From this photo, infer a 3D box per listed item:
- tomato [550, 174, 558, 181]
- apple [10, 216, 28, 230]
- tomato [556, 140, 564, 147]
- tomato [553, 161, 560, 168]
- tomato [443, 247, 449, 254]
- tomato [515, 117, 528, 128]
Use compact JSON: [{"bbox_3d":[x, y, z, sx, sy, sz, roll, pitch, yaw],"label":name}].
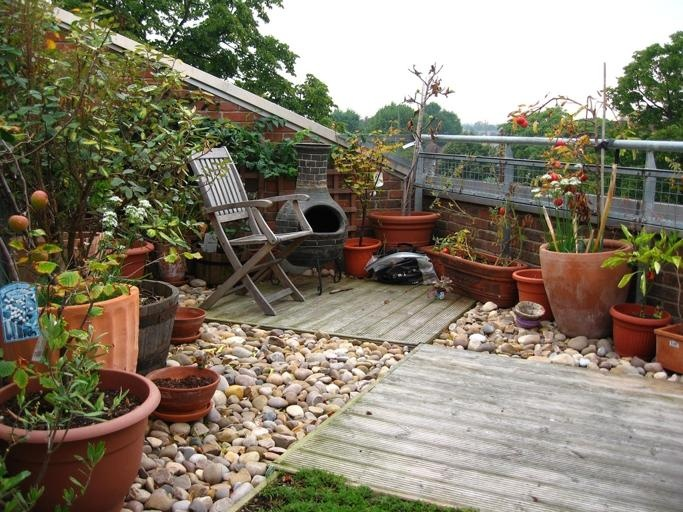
[{"bbox_3d":[1.664,-0.620,3.629,0.049,0.055,0.045,-16,13,-27],"label":"tomato"},{"bbox_3d":[-0.966,-0.099,1.379,0.041,0.039,0.040,-35,-28,5],"label":"apple"},{"bbox_3d":[1.713,-0.896,3.649,0.062,0.053,0.045,0,17,5],"label":"tomato"},{"bbox_3d":[1.750,-0.750,3.772,0.049,0.049,0.041,26,-31,-25],"label":"tomato"},{"bbox_3d":[1.072,-0.056,4.751,0.054,0.059,0.055,-14,18,-18],"label":"tomato"},{"bbox_3d":[1.410,-1.061,3.668,0.086,0.064,0.098,24,19,13],"label":"tomato"}]
